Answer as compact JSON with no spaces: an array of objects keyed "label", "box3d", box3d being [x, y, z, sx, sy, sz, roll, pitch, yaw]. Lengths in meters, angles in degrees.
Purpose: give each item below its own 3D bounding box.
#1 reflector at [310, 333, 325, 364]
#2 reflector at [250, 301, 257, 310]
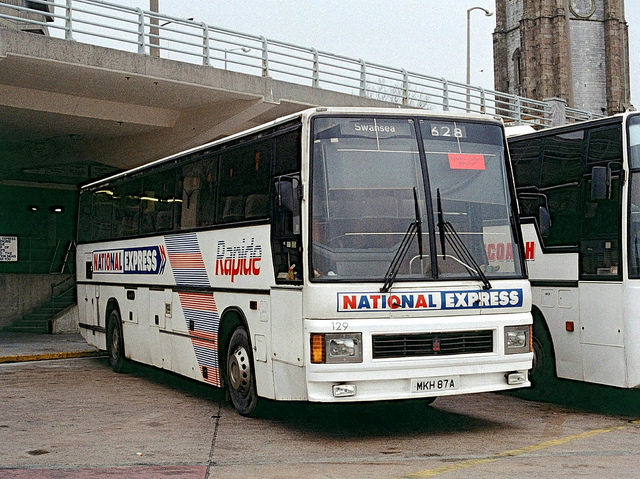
[{"label":"reflector","box3d":[-0.032,1.245,7.530,0.244,0.349,0.190,1,4,-10]},{"label":"reflector","box3d":[-0.918,0.900,8.833,0.117,0.130,0.098,0,-5,9]}]
